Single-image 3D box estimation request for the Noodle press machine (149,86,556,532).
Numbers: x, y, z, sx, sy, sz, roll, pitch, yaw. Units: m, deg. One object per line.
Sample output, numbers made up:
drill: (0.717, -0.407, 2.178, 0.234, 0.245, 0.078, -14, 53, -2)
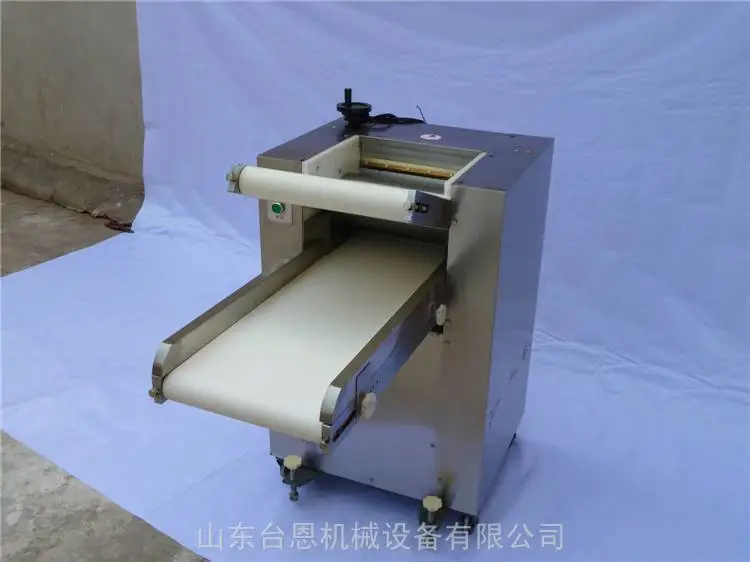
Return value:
Noodle press machine: (-0.069, 0.200, 2.037, 0.887, 1.381, 1.340, 16, 32, 30)
